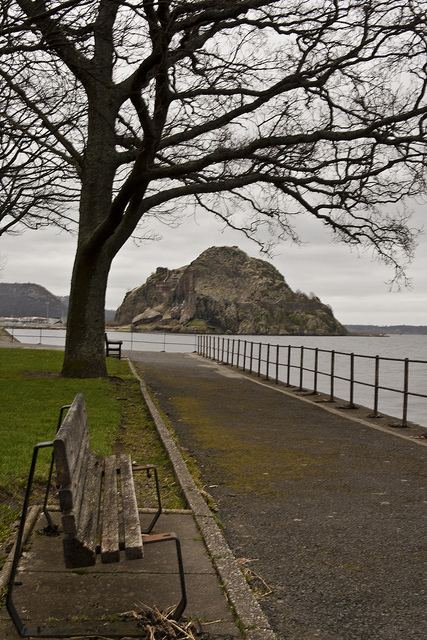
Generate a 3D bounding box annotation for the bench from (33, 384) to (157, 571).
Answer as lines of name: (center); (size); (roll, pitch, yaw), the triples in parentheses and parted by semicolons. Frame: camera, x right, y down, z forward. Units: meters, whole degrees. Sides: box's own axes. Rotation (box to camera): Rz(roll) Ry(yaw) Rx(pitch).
bench: (-0.799, 1.022, 3.787); (0.662, 0.671, 2.533); (-7, -3, -12)
